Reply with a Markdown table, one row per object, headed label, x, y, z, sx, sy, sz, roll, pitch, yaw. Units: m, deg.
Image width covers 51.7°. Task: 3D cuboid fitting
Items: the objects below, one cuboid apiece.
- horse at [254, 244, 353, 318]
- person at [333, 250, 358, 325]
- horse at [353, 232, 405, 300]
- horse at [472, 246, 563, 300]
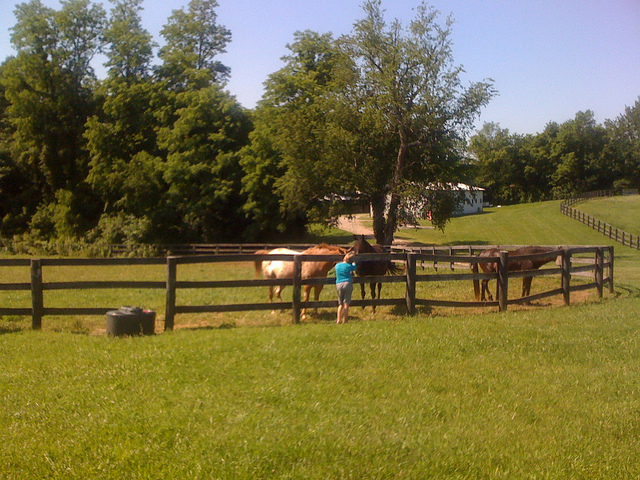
| label | x | y | z | sx | sy | sz | roll | pitch | yaw |
| --- | --- | --- | --- | --- | --- | --- | --- | --- | --- |
| horse | -0.542 | 1.033 | 17.996 | 1.731 | 1.855 | 3.633 | -1 | 0 | -25 |
| person | 0.627 | 1.114 | 15.735 | 0.498 | 1.670 | 0.395 | 0 | 0 | -30 |
| horse | 1.640 | 0.842 | 19.657 | 0.699 | 2.204 | 3.508 | 3 | 7 | 27 |
| horse | 5.913 | 1.062 | 19.630 | 2.636 | 2.033 | 0.728 | 2 | 17 | 15 |
